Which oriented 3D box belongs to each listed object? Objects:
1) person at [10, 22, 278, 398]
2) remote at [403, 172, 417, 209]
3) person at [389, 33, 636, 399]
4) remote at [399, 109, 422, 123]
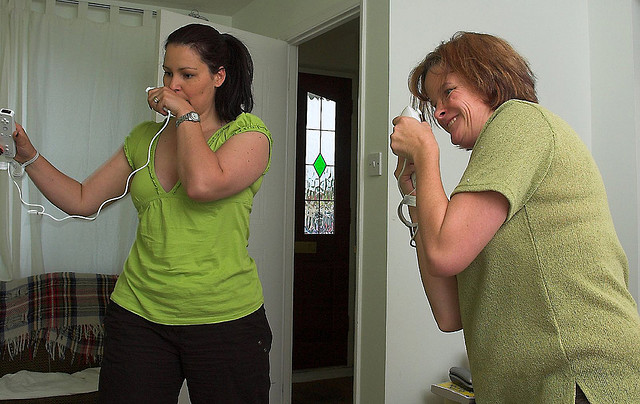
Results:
[{"bbox_3d":[-0.552,0.017,1.684,0.750,1.285,0.358,0,2,-14],"label":"person"},{"bbox_3d":[0.270,-0.034,1.447,0.068,0.092,0.044,1,-17,7],"label":"remote"},{"bbox_3d":[0.502,0.034,1.277,0.623,0.979,0.311,2,2,17],"label":"person"},{"bbox_3d":[0.254,-0.235,1.347,0.039,0.021,0.053,8,1,35],"label":"remote"}]
